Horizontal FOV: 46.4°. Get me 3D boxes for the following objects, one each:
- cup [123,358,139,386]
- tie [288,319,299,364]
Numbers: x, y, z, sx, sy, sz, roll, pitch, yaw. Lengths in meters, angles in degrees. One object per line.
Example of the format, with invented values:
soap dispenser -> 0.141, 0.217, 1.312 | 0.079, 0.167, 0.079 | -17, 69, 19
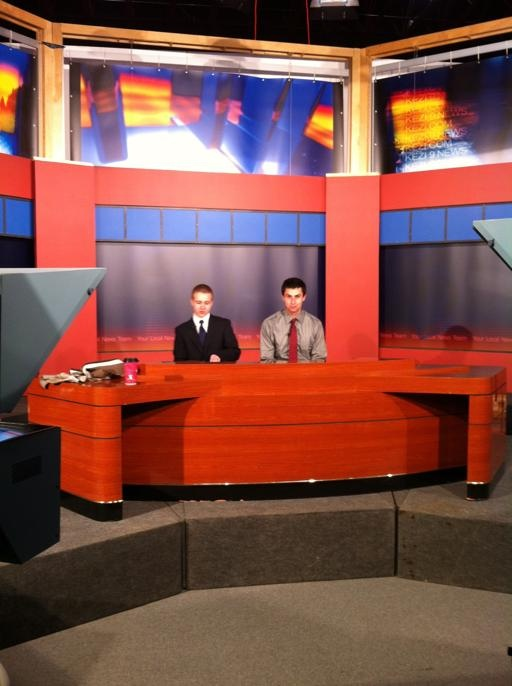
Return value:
cup -> -0.591, 0.134, 2.811 | 0.056, 0.113, 0.101 | 0, 1, -16
tie -> 0.228, -0.015, 3.686 | 0.059, 0.259, 0.126 | 0, 1, 3
